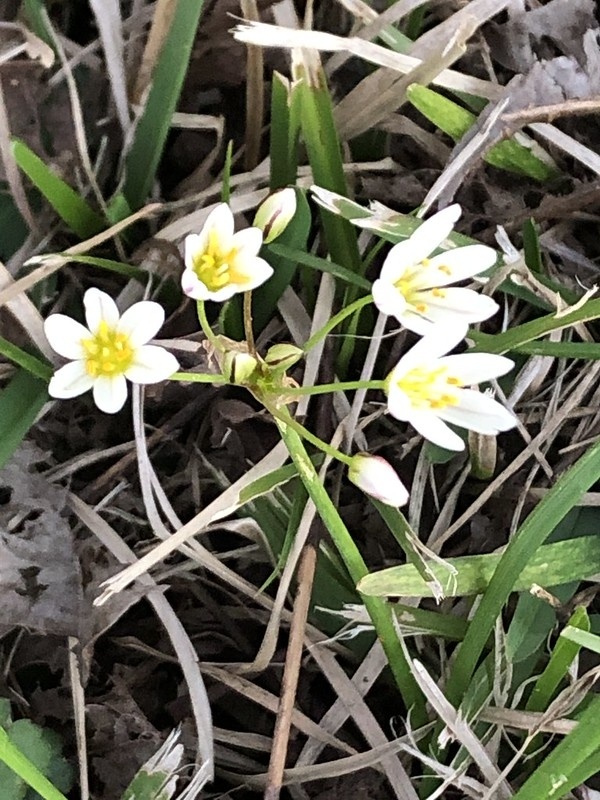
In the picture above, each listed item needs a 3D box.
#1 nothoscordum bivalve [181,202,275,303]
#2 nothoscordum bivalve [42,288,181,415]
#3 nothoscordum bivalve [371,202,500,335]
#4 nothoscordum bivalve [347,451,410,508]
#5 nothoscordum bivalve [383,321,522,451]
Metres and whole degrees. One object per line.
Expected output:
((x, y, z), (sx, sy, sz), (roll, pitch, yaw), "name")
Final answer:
((-0.084, -0.175, 1.000), (0.046, 0.091, 0.113), (-40, 59, -21), "nothoscordum bivalve")
((-0.224, -0.060, 0.961), (0.144, 0.100, 0.128), (-10, 59, -9), "nothoscordum bivalve")
((0.159, -0.151, 0.992), (0.191, 0.151, 0.085), (5, 15, -13), "nothoscordum bivalve")
((0.092, 0.094, 0.977), (0.030, 0.045, 0.082), (-6, 30, -42), "nothoscordum bivalve")
((0.144, -0.015, 0.945), (0.141, 0.079, 0.155), (32, 22, -22), "nothoscordum bivalve")
